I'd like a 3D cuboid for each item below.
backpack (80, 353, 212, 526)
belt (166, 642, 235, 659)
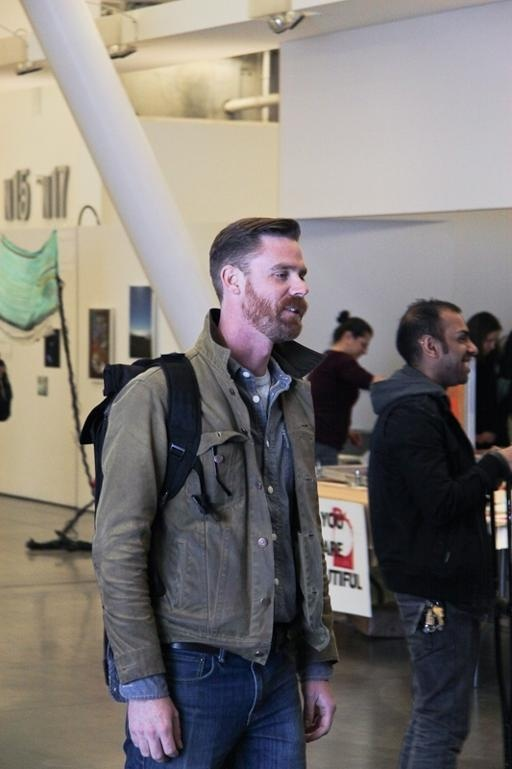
[{"bbox_3d":[-0.158,0.108,1.578,0.251,0.339,0.252,6,-9,-7],"label":"backpack"},{"bbox_3d":[-0.091,0.408,1.393,0.061,0.013,0.041,6,-6,-13],"label":"belt"}]
